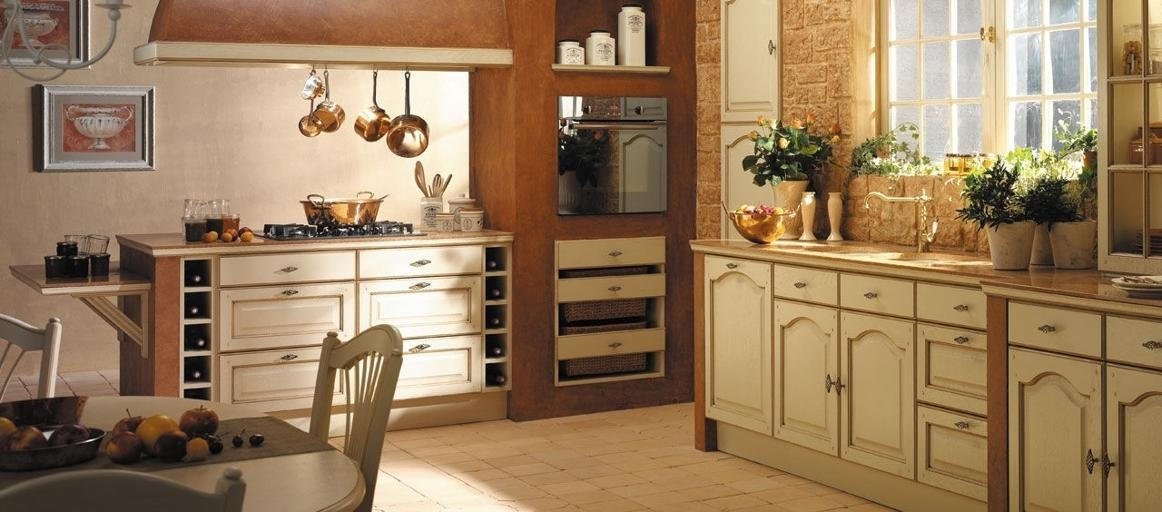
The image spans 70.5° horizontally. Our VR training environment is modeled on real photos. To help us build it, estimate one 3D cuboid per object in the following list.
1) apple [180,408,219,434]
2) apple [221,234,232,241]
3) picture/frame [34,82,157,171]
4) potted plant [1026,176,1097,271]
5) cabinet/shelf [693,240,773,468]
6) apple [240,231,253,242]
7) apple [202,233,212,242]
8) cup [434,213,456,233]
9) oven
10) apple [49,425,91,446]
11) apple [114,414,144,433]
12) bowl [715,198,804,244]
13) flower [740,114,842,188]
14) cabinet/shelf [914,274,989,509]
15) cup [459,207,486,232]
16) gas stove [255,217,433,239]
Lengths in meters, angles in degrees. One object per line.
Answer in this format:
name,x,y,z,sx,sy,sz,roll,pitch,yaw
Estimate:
apple,-2.223,0.971,4.859,0.201,0.143,0.170,1,0,-7
apple,-3.210,-0.171,7.482,0.089,0.055,0.069,10,20,39
picture/frame,-5.530,-1.483,9.298,1.359,0.808,0.090,-2,3,-19
potted plant,3.713,-0.261,6.316,0.513,0.701,0.248,-6,9,-14
cabinet/shelf,1.342,0.836,7.261,0.769,1.885,0.242,2,11,35
apple,-3.068,-0.182,7.624,0.098,0.075,0.111,4,19,4
apple,-3.384,-0.168,7.474,0.079,0.045,0.042,-6,-32,26
cup,-1.297,-0.332,8.102,0.223,0.185,0.142,-7,9,-19
oven,0.013,-1.084,8.545,1.045,1.172,1.551,5,9,42
apple,-2.903,1.021,4.688,0.139,0.074,0.154,-3,-5,-1
apple,-2.613,0.974,4.828,0.127,0.127,0.110,6,-2,-4
bowl,1.640,-0.287,7.362,0.796,0.294,0.479,5,-4,12
flower,1.892,-1.045,7.737,0.880,0.610,0.878,12,-10,-20
cabinet/shelf,2.801,1.016,6.257,0.494,1.604,0.275,0,10,26
cup,-1.080,-0.354,8.145,0.220,0.215,0.127,-5,9,-11
gas stove,-2.281,-0.246,7.867,1.445,0.156,0.372,-4,9,-12
